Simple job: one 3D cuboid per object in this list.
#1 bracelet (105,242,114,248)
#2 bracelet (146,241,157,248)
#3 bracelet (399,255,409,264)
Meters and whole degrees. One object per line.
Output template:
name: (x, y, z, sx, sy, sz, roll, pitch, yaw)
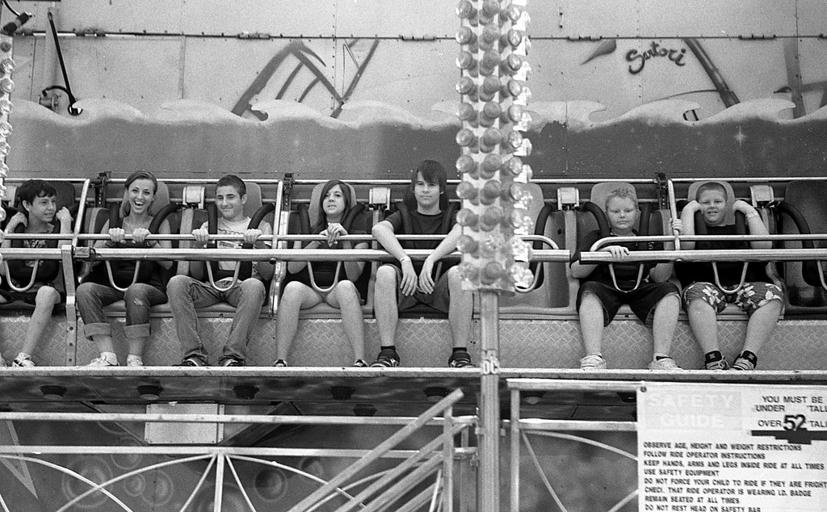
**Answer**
bracelet: (-2.671, -0.112, 11.143, 0.057, 0.069, 0.079, 2, -20, -10)
bracelet: (-2.289, -0.112, 11.094, 0.043, 0.052, 0.057, -29, 3, -41)
bracelet: (-0.064, 0.030, 10.472, 0.087, 0.046, 0.055, 2, -1, -13)
